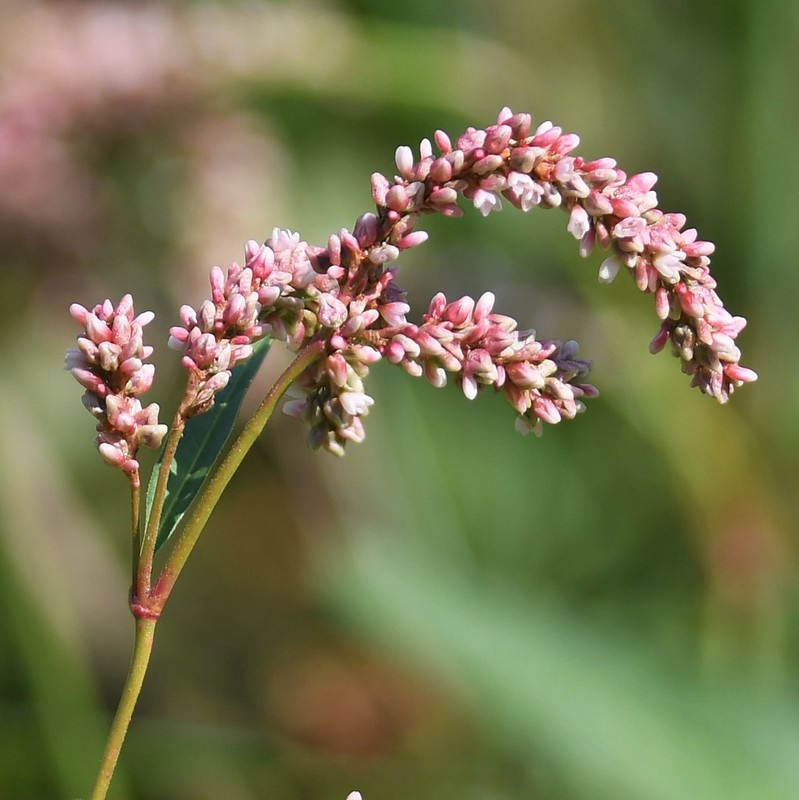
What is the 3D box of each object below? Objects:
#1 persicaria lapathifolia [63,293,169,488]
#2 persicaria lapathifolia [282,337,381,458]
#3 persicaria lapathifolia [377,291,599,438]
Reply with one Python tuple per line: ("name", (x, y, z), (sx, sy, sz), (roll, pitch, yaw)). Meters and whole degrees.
("persicaria lapathifolia", (-0.311, -0.015, 1.271), (0.102, 0.205, 0.143), (-2, -4, -14))
("persicaria lapathifolia", (-0.074, 0.004, 1.241), (0.114, 0.116, 0.053), (-4, -4, 6))
("persicaria lapathifolia", (0.096, -0.026, 1.307), (0.223, 0.125, 0.091), (22, -52, -17))
